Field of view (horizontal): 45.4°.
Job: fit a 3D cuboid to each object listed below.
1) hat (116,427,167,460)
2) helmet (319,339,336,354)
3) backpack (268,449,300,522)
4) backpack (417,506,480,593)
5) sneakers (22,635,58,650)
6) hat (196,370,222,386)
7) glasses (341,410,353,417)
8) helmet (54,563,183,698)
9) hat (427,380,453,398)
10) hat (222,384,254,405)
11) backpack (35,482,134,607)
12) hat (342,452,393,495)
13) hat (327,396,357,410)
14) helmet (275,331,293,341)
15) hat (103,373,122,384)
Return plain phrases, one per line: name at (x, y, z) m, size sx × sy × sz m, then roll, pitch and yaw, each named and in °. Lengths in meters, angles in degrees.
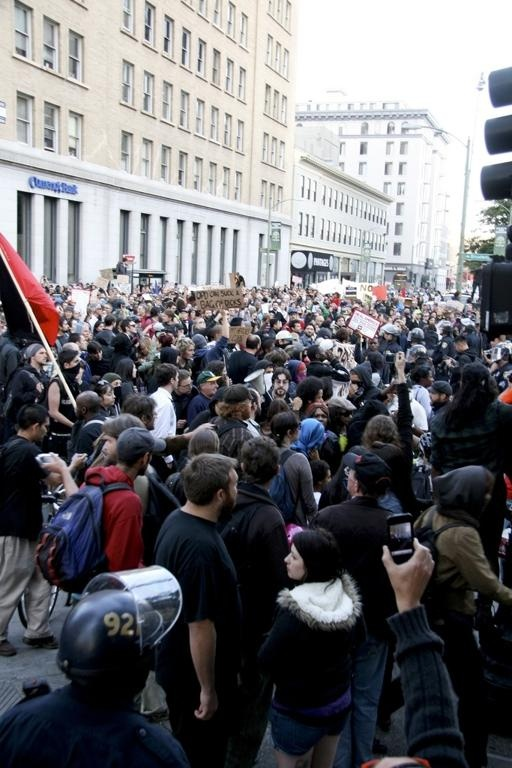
hat at (-0.701, 0.348, 3.523) m, size 0.198 × 0.179 × 0.201 m, roll 2°, pitch 6°, yaw -1°
helmet at (1.220, -0.638, 10.530) m, size 0.244 × 0.331 × 0.319 m, roll -1°, pitch -7°, yaw 23°
backpack at (0.186, 0.729, 4.317) m, size 0.190 × 0.520 × 0.130 m, roll -1°, pitch 7°, yaw -29°
backpack at (0.916, 0.883, 3.325) m, size 0.429 × 0.407 × 0.292 m, roll -8°, pitch 4°, yaw 4°
sneakers at (-1.661, 1.984, 4.725) m, size 0.246 × 0.113 × 0.114 m, roll 4°, pitch 7°, yaw -22°
hat at (-0.541, -0.064, 6.774) m, size 0.219 × 0.123 × 0.146 m, roll -7°, pitch 3°, yaw 5°
glasses at (1.022, 0.325, 6.825) m, size 0.088 × 0.084 × 0.026 m, roll -4°, pitch -21°, yaw 3°
helmet at (-0.310, 0.575, 1.437) m, size 0.249 × 0.240 × 0.344 m, roll 2°, pitch 6°, yaw -5°
hat at (2.198, 0.059, 7.427) m, size 0.168 × 0.127 × 0.234 m, roll 18°, pitch 3°, yaw -10°
hat at (-0.162, 0.091, 4.976) m, size 0.209 × 0.145 × 0.195 m, roll 2°, pitch 6°, yaw -4°
backpack at (-0.943, 0.816, 3.205) m, size 0.614 × 0.602 × 0.406 m, roll 3°, pitch -2°, yaw -32°
hat at (0.609, 0.459, 3.342) m, size 0.171 × 0.239 × 0.135 m, roll -15°, pitch -25°, yaw -27°
hat at (0.959, 0.225, 6.954) m, size 0.327 × 0.128 × 0.283 m, roll 3°, pitch 6°, yaw 11°
helmet at (0.468, -0.848, 10.956) m, size 0.243 × 0.127 × 0.174 m, roll 2°, pitch 26°, yaw 24°
hat at (-1.780, -0.074, 7.568) m, size 0.165 × 0.133 × 0.119 m, roll -29°, pitch 32°, yaw -29°
